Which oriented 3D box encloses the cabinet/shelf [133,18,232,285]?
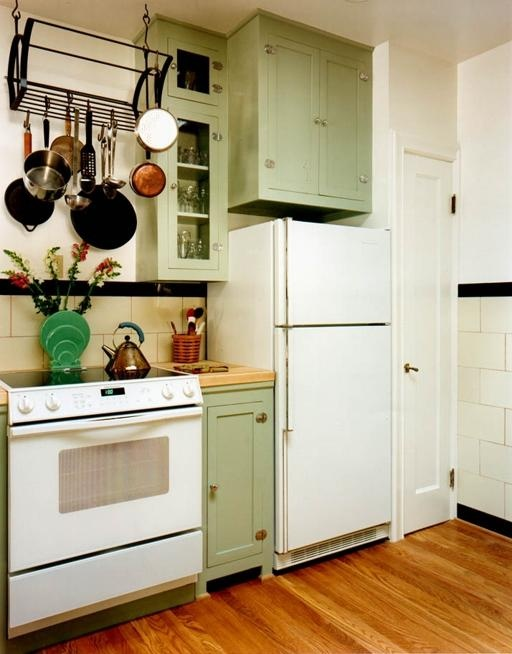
[{"bbox_3d":[-0.304,-0.746,2.594,0.312,1.099,0.223,-1,4,-17],"label":"cabinet/shelf"}]

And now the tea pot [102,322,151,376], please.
[{"bbox_3d":[-0.507,0.091,2.286,0.198,0.263,0.201,1,-5,0],"label":"tea pot"}]

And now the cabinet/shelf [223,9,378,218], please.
[{"bbox_3d":[0.185,-0.995,2.559,0.746,0.998,0.340,0,-2,-36],"label":"cabinet/shelf"}]

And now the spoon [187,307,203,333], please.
[{"bbox_3d":[-0.303,-0.035,2.827,0.089,0.133,0.205,0,2,-5],"label":"spoon"}]

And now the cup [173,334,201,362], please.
[{"bbox_3d":[-0.331,0.100,2.764,0.117,0.128,0.124,1,1,0],"label":"cup"}]

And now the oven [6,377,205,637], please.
[{"bbox_3d":[-0.521,0.502,2.271,0.795,1.125,0.671,1,-4,-39],"label":"oven"}]

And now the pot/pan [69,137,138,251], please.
[{"bbox_3d":[-0.645,-0.561,2.530,0.054,0.515,0.260,3,6,42],"label":"pot/pan"}]

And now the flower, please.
[{"bbox_3d":[-0.799,-0.213,2.426,0.514,0.333,0.210,-1,2,-32],"label":"flower"}]
